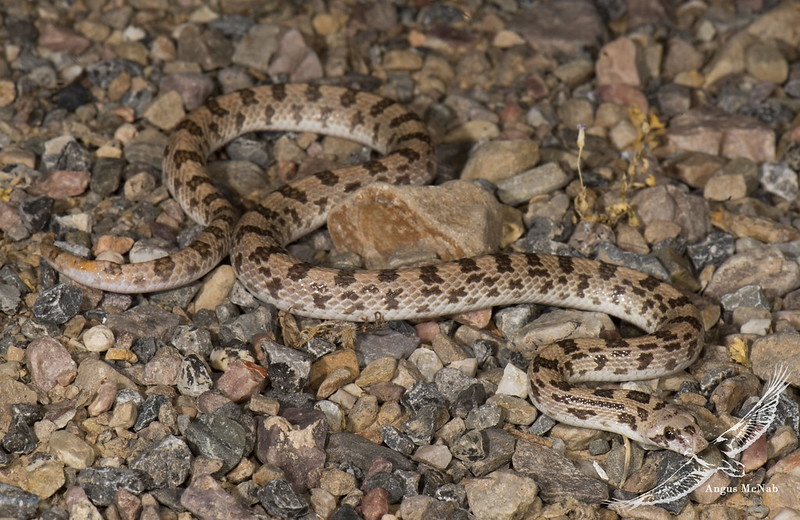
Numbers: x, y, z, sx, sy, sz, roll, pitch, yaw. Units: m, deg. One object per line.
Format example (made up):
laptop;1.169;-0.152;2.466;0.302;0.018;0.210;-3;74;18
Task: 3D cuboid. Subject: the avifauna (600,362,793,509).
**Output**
avifauna;3.494;2.110;8.672;2.712;0.305;0.631;-33;69;-13

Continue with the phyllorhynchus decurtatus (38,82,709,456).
phyllorhynchus decurtatus;0.292;-0.461;10.413;7.426;1.783;4.241;15;67;8
